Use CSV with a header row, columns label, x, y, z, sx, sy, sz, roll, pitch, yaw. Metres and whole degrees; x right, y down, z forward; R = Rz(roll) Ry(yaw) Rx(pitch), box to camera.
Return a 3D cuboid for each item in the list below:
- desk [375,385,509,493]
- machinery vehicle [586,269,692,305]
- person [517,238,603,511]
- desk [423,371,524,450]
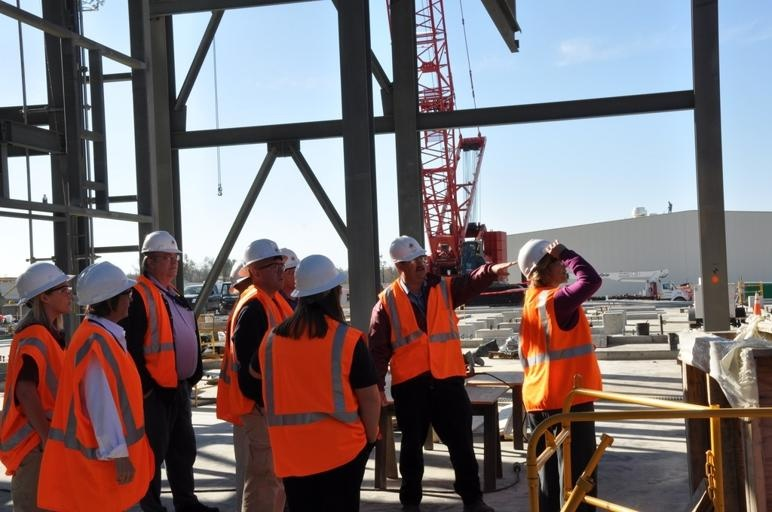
label,x,y,z,sx,sy,sz,roll,pitch,yaw
desk,0.852,2.177,10.737,1.362,1.146,1.366,-3,-9,15
machinery vehicle,15.185,1.906,49.417,4.969,2.194,2.609,-2,-2,21
person,1.813,1.264,8.685,0.891,2.867,0.672,-1,1,22
desk,1.550,2.146,11.723,0.799,0.834,0.852,-4,-6,12
